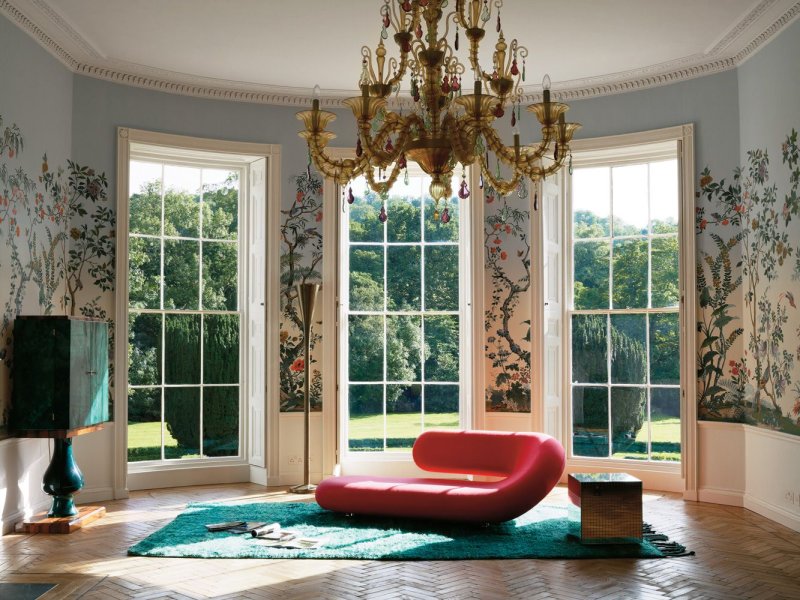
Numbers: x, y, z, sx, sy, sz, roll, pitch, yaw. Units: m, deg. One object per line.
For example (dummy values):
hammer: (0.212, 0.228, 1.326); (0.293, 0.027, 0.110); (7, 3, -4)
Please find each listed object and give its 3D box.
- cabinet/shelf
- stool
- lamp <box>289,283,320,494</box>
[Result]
cabinet/shelf: (-2.759, 0.575, 5.226); (0.384, 0.917, 0.936); (-1, -3, 10)
stool: (1.485, 1.496, 4.869); (0.473, 0.448, 0.463); (0, -4, -2)
lamp: (-0.950, 0.823, 6.536); (0.259, 2.055, 0.442); (0, -2, -8)
